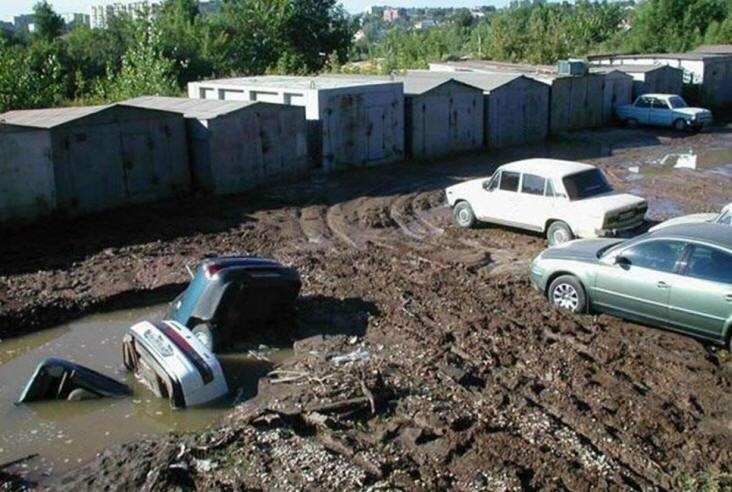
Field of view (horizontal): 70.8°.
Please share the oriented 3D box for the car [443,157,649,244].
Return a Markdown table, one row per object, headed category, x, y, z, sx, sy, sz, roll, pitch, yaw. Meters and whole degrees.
| category | x | y | z | sx | sy | sz | roll | pitch | yaw |
| --- | --- | --- | --- | --- | --- | --- | --- | --- | --- |
| car | 4.644 | -1.115 | 13.903 | 4.743 | 1.886 | 2.323 | 15 | 23 | 40 |
